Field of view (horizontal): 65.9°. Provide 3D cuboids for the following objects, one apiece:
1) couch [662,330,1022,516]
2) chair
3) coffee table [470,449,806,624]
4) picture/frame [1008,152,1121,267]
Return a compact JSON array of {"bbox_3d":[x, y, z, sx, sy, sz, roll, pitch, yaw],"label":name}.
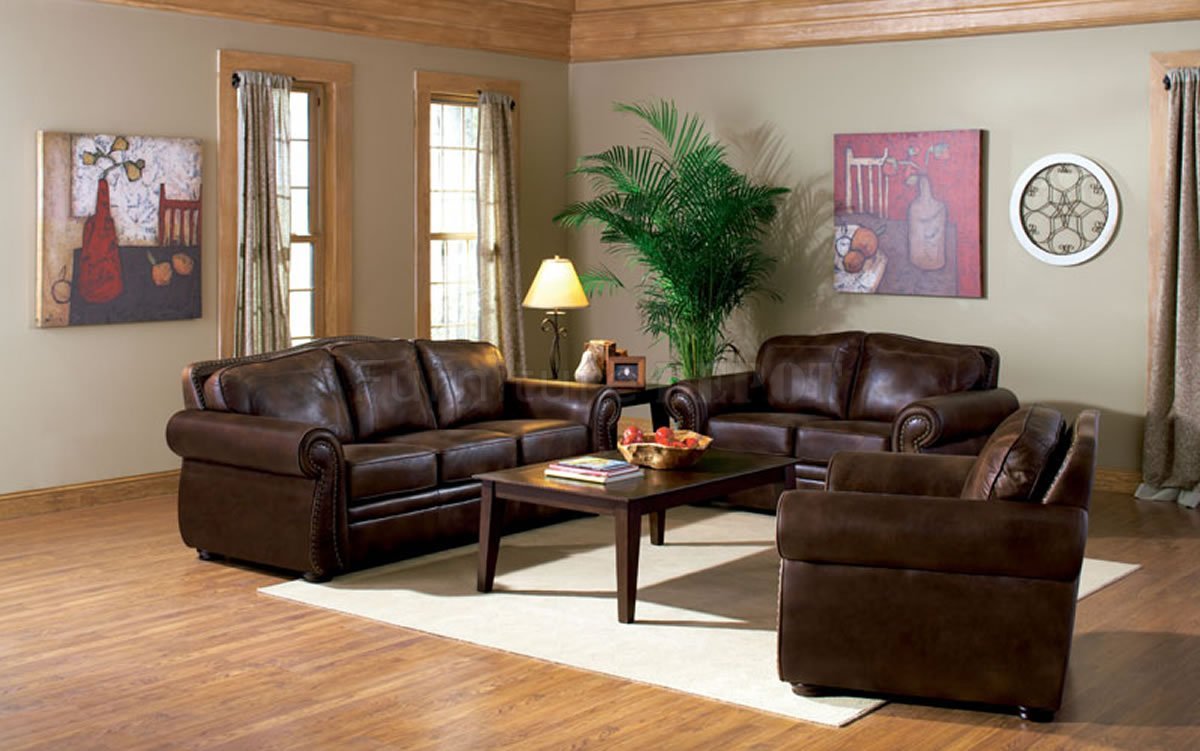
[{"bbox_3d":[1.785,0.309,6.898,1.244,1.124,2.224,-15,13,-41],"label":"couch"},{"bbox_3d":[1.457,0.761,4.395,1.457,1.164,1.326,1,2,20],"label":"chair"},{"bbox_3d":[0.032,0.644,5.190,0.992,0.510,1.493,3,5,40],"label":"coffee table"},{"bbox_3d":[3.598,-1.301,7.135,1.018,1.047,0.178,3,2,42],"label":"picture/frame"}]
